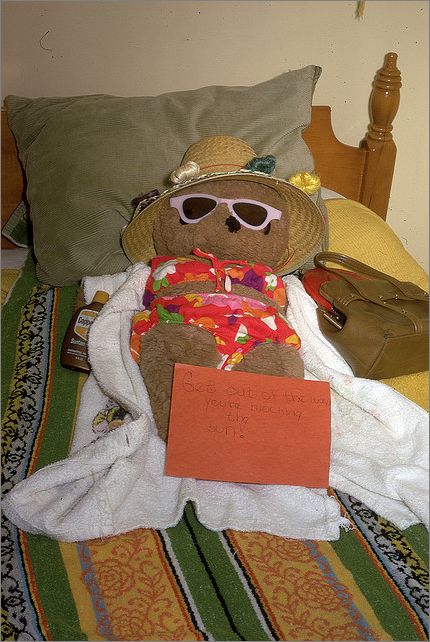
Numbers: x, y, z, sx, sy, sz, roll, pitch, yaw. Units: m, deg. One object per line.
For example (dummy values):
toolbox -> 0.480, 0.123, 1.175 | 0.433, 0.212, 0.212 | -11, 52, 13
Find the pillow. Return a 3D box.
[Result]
pillow -> -0.147, -0.388, 1.350 | 0.696, 0.174, 0.548 | -6, 82, -19

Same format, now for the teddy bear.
teddy bear -> 0.003, -0.085, 1.023 | 0.417, 0.203, 0.605 | 6, 66, -16
